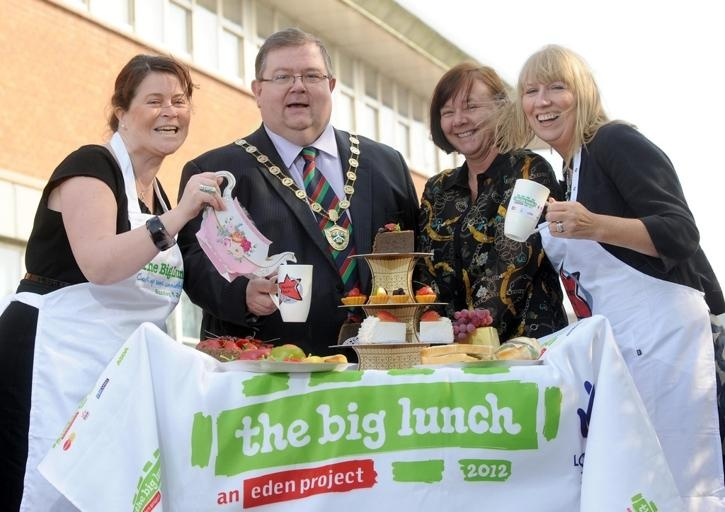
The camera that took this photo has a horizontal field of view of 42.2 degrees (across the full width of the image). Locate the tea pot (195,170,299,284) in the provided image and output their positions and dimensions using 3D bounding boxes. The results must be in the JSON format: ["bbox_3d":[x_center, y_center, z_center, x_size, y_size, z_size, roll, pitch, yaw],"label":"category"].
[{"bbox_3d":[-0.592,-0.076,4.560,0.548,0.313,0.329,42,7,-5],"label":"tea pot"}]

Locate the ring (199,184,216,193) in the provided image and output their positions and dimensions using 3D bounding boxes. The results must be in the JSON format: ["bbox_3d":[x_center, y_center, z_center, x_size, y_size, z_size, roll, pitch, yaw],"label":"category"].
[{"bbox_3d":[-0.727,-0.311,4.409,0.058,0.018,0.037,7,22,-5],"label":"ring"}]

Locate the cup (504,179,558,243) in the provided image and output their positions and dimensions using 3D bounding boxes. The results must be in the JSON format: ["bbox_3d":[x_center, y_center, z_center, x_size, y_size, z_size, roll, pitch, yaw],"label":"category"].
[{"bbox_3d":[0.815,-0.220,4.574,0.254,0.298,0.208,2,6,-8],"label":"cup"}]

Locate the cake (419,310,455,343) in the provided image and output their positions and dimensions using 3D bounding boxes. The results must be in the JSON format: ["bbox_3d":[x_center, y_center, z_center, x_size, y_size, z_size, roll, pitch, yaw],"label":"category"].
[{"bbox_3d":[0.354,0.368,4.473,0.165,0.160,0.164,2,-26,-1],"label":"cake"}]

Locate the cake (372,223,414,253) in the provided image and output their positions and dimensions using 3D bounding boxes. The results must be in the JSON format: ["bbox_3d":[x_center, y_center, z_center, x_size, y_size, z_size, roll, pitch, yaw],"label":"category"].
[{"bbox_3d":[0.152,-0.085,4.643,0.194,0.158,0.188,0,-3,1],"label":"cake"}]

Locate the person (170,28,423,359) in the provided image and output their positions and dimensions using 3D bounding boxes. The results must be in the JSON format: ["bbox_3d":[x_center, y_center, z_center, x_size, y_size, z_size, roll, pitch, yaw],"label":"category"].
[{"bbox_3d":[-0.311,-0.325,5.489,1.207,2.058,0.916,-1,10,-16],"label":"person"}]

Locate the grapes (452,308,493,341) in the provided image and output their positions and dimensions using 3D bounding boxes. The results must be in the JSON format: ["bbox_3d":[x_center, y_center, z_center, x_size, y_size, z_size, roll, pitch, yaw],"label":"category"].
[{"bbox_3d":[0.551,0.341,4.779,0.177,0.090,0.162,0,5,-36],"label":"grapes"}]

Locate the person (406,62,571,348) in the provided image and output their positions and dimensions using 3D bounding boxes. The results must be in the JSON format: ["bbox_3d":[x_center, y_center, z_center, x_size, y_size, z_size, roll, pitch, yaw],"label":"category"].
[{"bbox_3d":[0.701,-0.262,5.359,0.786,1.702,0.645,2,7,16],"label":"person"}]

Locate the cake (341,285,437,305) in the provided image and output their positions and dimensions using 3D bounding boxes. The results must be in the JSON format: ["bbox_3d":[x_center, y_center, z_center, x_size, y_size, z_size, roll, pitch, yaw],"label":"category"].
[{"bbox_3d":[0.121,0.194,4.532,0.447,0.088,0.168,-1,-4,17],"label":"cake"}]

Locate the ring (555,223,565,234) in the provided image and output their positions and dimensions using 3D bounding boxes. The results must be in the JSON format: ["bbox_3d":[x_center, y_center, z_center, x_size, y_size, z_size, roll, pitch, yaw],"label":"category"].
[{"bbox_3d":[0.939,-0.133,4.434,0.032,0.043,0.017,-2,-8,28],"label":"ring"}]
